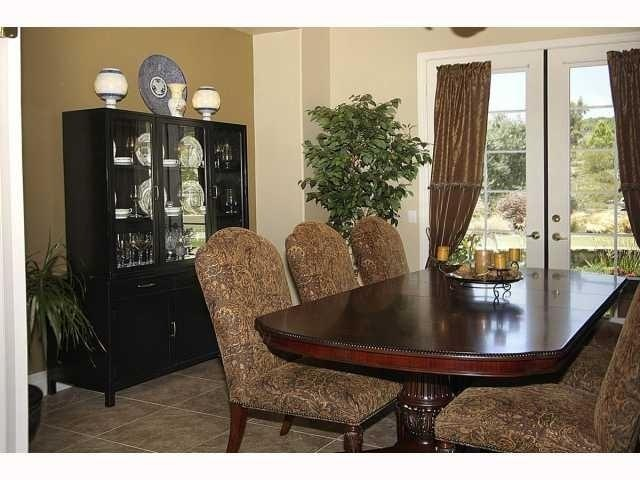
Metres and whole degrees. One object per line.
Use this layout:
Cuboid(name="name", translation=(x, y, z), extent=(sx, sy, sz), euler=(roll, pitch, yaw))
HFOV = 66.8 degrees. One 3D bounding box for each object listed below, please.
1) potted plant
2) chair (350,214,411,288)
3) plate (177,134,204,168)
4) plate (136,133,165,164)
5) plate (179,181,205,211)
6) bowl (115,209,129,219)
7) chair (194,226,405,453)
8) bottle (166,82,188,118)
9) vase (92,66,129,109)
Cuboid(name="potted plant", translation=(-1.642, 0.580, 3.105), extent=(0.460, 1.103, 1.182), euler=(-7, 8, -26))
Cuboid(name="chair", translation=(0.425, 0.048, 3.559), extent=(0.399, 0.213, 0.641), euler=(3, 32, 1))
Cuboid(name="plate", translation=(-1.049, -0.715, 3.920), extent=(0.067, 0.230, 0.191), euler=(6, 5, 42))
Cuboid(name="plate", translation=(-1.215, -0.667, 3.562), extent=(0.189, 0.185, 0.156), euler=(0, 2, 30))
Cuboid(name="plate", translation=(-1.038, -0.358, 3.945), extent=(0.164, 0.221, 0.073), euler=(-5, 5, -42))
Cuboid(name="bowl", translation=(-1.383, -0.190, 3.391), extent=(0.025, 0.078, 0.131), euler=(-2, 7, 14))
Cuboid(name="chair", translation=(-0.090, 0.364, 2.736), extent=(1.106, 1.359, 0.907), euler=(1, 4, 22))
Cuboid(name="bottle", translation=(-1.176, -1.151, 3.989), extent=(0.159, 0.259, 0.156), euler=(4, 12, -1))
Cuboid(name="vase", translation=(-1.490, -1.093, 3.463), extent=(0.158, 0.301, 0.169), euler=(1, 9, 31))
